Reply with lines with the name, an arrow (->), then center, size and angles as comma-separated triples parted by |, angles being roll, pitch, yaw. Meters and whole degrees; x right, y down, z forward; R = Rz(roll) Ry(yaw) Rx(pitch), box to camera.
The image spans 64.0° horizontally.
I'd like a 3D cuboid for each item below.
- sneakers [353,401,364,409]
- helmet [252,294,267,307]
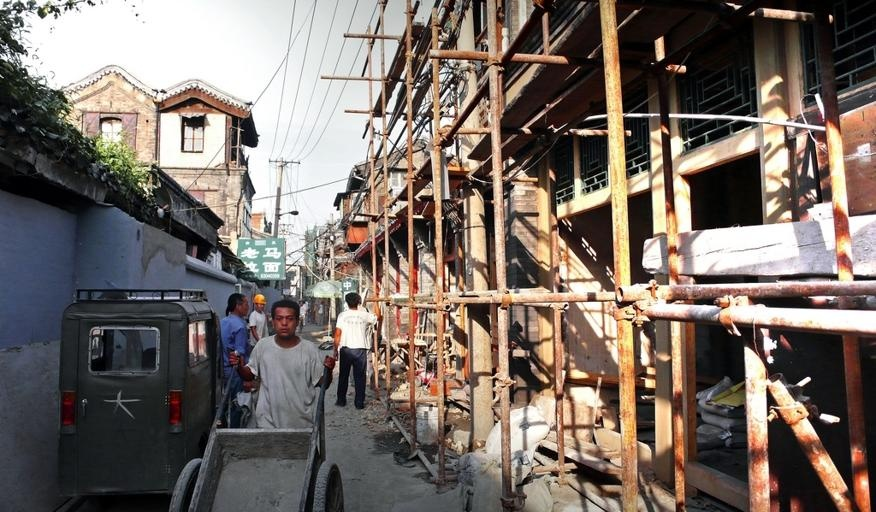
sneakers -> -1.625, 3.083, 14.576 | 0.138, 0.238, 0.177 | -2, 4, -38
helmet -> -3.968, 1.000, 15.891 | 0.317, 0.222, 0.407 | 4, 6, 34
